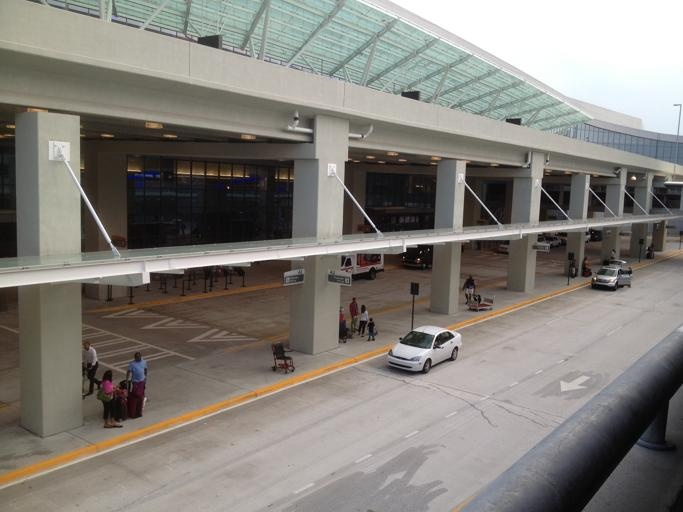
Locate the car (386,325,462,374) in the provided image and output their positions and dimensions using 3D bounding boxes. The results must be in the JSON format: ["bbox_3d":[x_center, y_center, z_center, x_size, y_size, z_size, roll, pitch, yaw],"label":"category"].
[{"bbox_3d":[3.427,3.753,19.055,1.471,0.927,2.755,2,1,38],"label":"car"}]

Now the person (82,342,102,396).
[{"bbox_3d":[-8.137,3.692,15.365,0.419,1.689,1.438,-3,10,-27],"label":"person"}]

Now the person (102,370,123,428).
[{"bbox_3d":[-6.474,4.166,13.340,0.495,1.317,0.506,-3,10,-27],"label":"person"}]

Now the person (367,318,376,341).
[{"bbox_3d":[1.452,3.442,22.125,0.367,0.969,0.536,2,9,3],"label":"person"}]

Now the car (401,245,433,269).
[{"bbox_3d":[7.308,0.097,43.844,3.088,1.471,1.670,-2,3,-44],"label":"car"}]

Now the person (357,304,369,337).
[{"bbox_3d":[1.073,3.116,22.926,0.448,1.456,0.976,2,9,3],"label":"person"}]

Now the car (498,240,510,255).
[{"bbox_3d":[18.469,-0.977,53.676,1.456,1.046,3.394,6,14,36],"label":"car"}]
